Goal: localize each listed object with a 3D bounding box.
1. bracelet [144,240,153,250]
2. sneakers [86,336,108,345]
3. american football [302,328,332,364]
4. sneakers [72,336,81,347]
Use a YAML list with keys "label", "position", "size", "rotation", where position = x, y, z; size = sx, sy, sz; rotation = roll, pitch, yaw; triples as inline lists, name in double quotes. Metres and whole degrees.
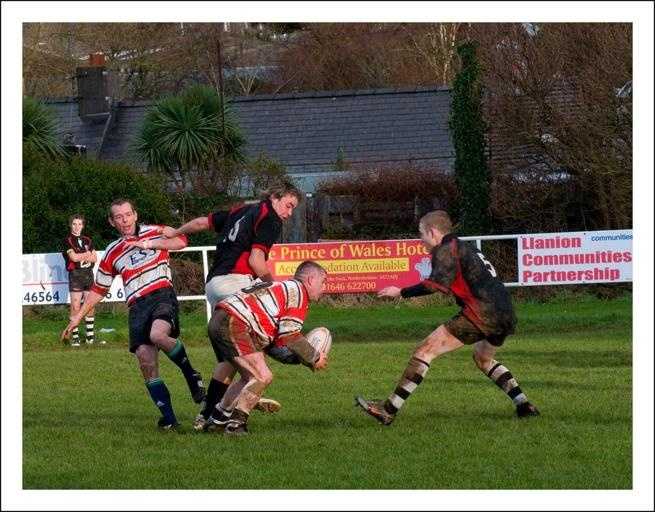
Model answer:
- label: "bracelet"
  position: [-2.679, -0.165, 15.673]
  size: [0.103, 0.090, 0.103]
  rotation: [0, 18, 30]
- label: "sneakers"
  position: [-4.629, 1.698, 21.007]
  size: [0.469, 0.237, 0.166]
  rotation: [0, 8, -15]
- label: "american football"
  position: [-0.152, 1.284, 15.390]
  size: [0.375, 0.324, 0.301]
  rotation: [-23, -26, 22]
- label: "sneakers"
  position: [-5.022, 1.707, 20.865]
  size: [0.128, 0.192, 0.407]
  rotation: [0, -6, -15]
